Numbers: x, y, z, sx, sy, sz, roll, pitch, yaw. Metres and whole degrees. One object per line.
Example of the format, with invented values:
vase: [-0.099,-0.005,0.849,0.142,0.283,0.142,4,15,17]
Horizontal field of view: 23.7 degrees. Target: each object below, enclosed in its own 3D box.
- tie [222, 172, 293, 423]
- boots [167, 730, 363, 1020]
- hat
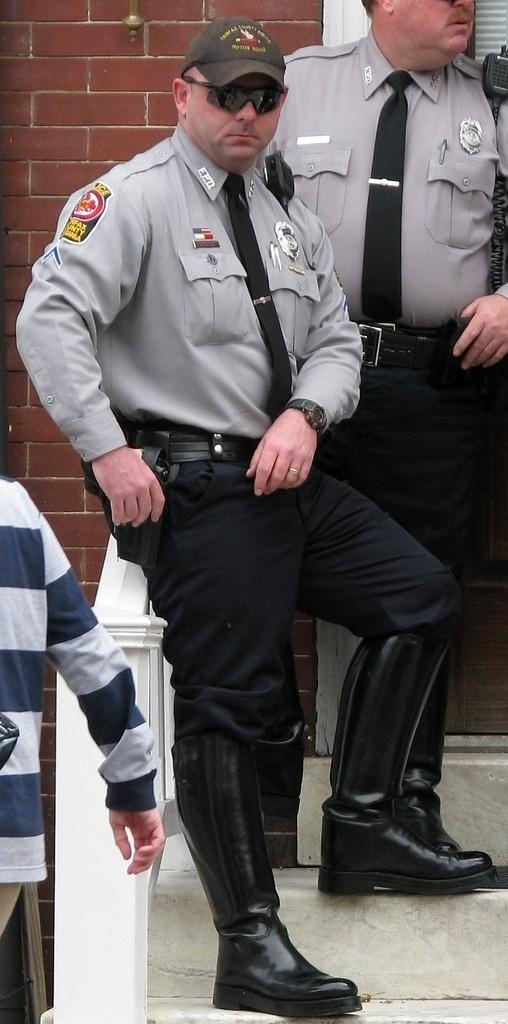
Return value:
tie: [-0.025,-0.473,2.334,0.082,0.602,0.068,-18,-16,31]
boots: [0.003,0.649,2.133,0.206,0.465,0.414,-11,23,-20]
hat: [-0.031,-0.840,2.237,0.138,0.094,0.186,3,16,-18]
